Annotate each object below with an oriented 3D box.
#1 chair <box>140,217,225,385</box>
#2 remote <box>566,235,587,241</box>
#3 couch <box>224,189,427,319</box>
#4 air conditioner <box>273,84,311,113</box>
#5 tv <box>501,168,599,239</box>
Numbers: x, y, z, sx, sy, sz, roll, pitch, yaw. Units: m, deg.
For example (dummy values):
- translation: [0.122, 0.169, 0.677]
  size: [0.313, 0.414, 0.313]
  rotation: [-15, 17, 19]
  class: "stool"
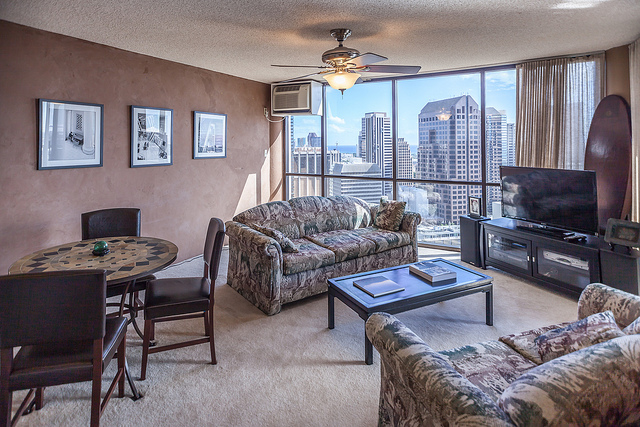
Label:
- translation: [-1.351, 0.776, 4.397]
  size: [0.795, 1.409, 0.945]
  rotation: [-2, 9, -12]
  class: "chair"
- translation: [3.078, 0.291, 5.277]
  size: [0.297, 0.042, 0.108]
  rotation: [-3, 9, -21]
  class: "remote"
- translation: [-0.009, 0.455, 5.848]
  size: [2.244, 1.161, 1.036]
  rotation: [-6, 11, -36]
  class: "couch"
- translation: [-0.394, -1.967, 7.624]
  size: [0.826, 0.514, 0.420]
  rotation: [6, 9, 33]
  class: "air conditioner"
- translation: [2.814, -0.196, 5.561]
  size: [0.048, 0.755, 1.367]
  rotation: [-17, 16, -24]
  class: "tv"
